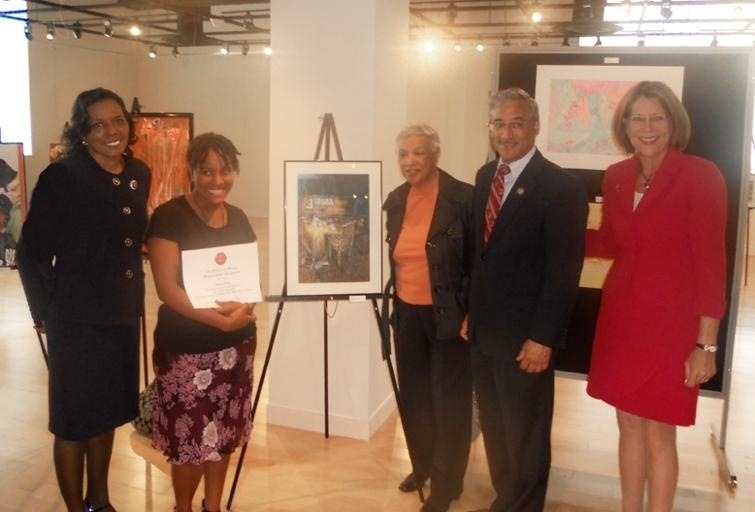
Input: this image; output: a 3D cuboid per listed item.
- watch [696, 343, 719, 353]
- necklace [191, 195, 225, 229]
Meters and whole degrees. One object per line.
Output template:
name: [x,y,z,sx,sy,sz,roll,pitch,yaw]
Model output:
watch: [1.762,0.490,3.209,0.093,0.059,0.037,1,10,10]
necklace: [-0.981,-0.255,3.559,0.157,0.213,0.162,-6,53,3]
